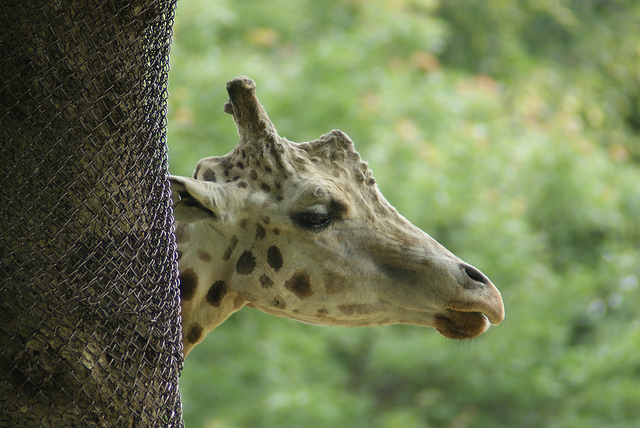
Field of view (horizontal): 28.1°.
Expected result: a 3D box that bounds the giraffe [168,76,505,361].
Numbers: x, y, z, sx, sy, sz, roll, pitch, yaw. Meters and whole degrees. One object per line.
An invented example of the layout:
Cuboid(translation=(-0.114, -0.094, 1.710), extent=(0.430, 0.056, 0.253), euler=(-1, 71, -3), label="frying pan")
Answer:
Cuboid(translation=(0.194, 0.429, 15.786), extent=(3.765, 2.465, 3.489), euler=(14, -85, 4), label="giraffe")
